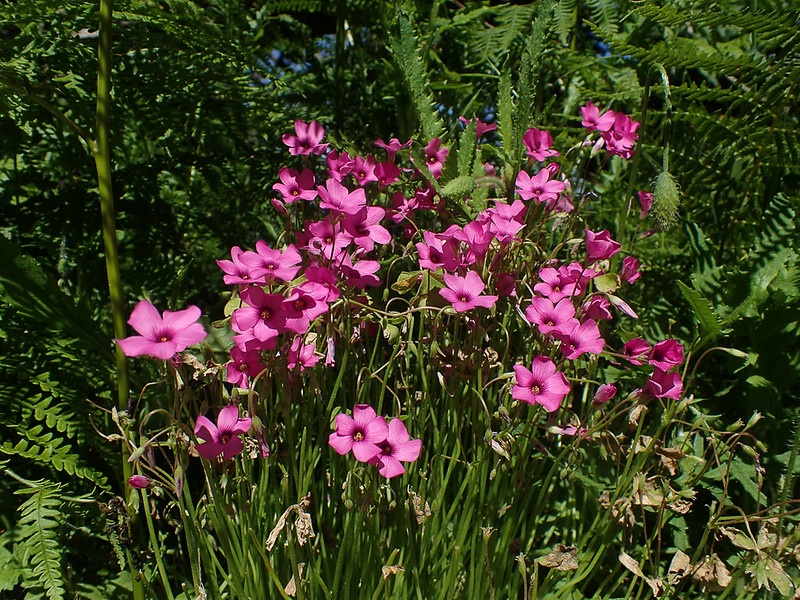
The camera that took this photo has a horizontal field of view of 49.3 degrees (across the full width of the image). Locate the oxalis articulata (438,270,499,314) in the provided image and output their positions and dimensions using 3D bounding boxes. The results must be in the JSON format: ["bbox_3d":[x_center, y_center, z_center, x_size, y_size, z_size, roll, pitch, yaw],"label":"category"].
[{"bbox_3d":[0.151,-0.028,2.010,0.155,0.085,0.155,-6,-11,16],"label":"oxalis articulata"}]

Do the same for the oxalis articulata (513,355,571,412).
[{"bbox_3d":[0.314,0.189,1.955,0.112,0.061,0.129,24,69,8],"label":"oxalis articulata"}]

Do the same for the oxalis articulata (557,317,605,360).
[{"bbox_3d":[0.399,0.074,2.045,0.128,0.075,0.142,-10,8,-8],"label":"oxalis articulata"}]

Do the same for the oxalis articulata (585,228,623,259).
[{"bbox_3d":[0.493,-0.133,2.108,0.070,0.078,0.075,26,13,8],"label":"oxalis articulata"}]

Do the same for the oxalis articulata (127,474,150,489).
[{"bbox_3d":[-0.565,0.396,1.887,0.027,0.047,0.023,-29,55,37],"label":"oxalis articulata"}]

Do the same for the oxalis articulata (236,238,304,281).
[{"bbox_3d":[-0.295,-0.091,1.984,0.141,0.065,0.148,5,-15,-40],"label":"oxalis articulata"}]

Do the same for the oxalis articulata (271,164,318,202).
[{"bbox_3d":[-0.258,-0.284,2.204,0.100,0.098,0.112,-5,36,2],"label":"oxalis articulata"}]

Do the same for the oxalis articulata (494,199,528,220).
[{"bbox_3d":[0.281,-0.232,2.134,0.051,0.028,0.059,5,37,14],"label":"oxalis articulata"}]

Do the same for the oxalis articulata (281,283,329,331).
[{"bbox_3d":[-0.204,0.007,1.916,0.096,0.062,0.121,-4,37,4],"label":"oxalis articulata"}]

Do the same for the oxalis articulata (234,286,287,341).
[{"bbox_3d":[-0.304,0.026,1.865,0.116,0.091,0.084,-15,36,-10],"label":"oxalis articulata"}]

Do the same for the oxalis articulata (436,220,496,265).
[{"bbox_3d":[0.164,-0.151,2.027,0.089,0.049,0.106,9,31,9],"label":"oxalis articulata"}]

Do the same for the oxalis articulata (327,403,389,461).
[{"bbox_3d":[-0.088,0.288,1.876,0.122,0.081,0.106,-2,36,7],"label":"oxalis articulata"}]

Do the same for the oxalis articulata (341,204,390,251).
[{"bbox_3d":[-0.080,-0.169,2.071,0.098,0.056,0.112,-8,66,-6],"label":"oxalis articulata"}]

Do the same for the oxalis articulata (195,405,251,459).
[{"bbox_3d":[-0.389,0.298,1.920,0.116,0.049,0.141,9,41,1],"label":"oxalis articulata"}]

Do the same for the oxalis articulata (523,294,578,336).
[{"bbox_3d":[0.350,0.040,2.028,0.147,0.162,0.085,6,76,7],"label":"oxalis articulata"}]

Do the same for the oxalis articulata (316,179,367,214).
[{"bbox_3d":[-0.139,-0.261,2.074,0.104,0.081,0.096,-8,36,-2],"label":"oxalis articulata"}]

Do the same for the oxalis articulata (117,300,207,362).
[{"bbox_3d":[-0.476,0.079,1.814,0.184,0.082,0.213,10,16,18],"label":"oxalis articulata"}]
